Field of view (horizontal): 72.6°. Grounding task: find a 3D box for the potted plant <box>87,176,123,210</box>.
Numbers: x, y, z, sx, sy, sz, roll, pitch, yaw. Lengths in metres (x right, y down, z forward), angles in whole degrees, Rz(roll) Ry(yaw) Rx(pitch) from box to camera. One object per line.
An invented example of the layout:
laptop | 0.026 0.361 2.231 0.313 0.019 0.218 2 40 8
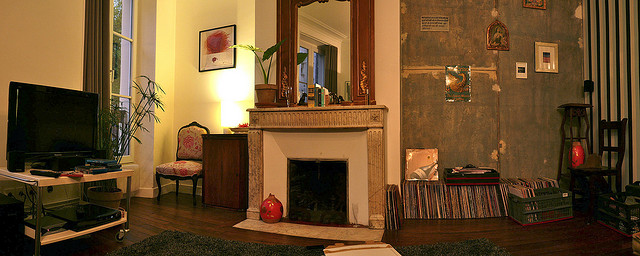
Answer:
potted plant | -4.949 1.516 10.338 1.045 0.627 0.943 -3 -2 33

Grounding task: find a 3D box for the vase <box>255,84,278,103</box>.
vase | -1.247 -0.817 10.418 0.697 0.375 0.602 1 -1 2

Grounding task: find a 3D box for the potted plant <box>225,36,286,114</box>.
potted plant | -1.273 -1.259 10.356 0.881 1.860 0.405 -1 -2 1

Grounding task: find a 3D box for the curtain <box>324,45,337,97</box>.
curtain | 0.281 -1.335 10.223 0.106 1.160 0.335 -20 29 -40

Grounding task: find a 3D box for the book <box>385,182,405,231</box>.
book | 1.691 1.802 10.041 0.328 1.060 0.441 -2 -2 12

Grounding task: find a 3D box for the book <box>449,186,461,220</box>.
book | 3.205 1.768 10.287 0.233 0.756 0.085 -2 -3 9

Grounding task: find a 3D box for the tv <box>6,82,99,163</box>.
tv | -5.931 -0.070 9.511 2.313 1.779 0.209 2 0 -14

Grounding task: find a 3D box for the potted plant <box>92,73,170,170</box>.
potted plant | -4.600 -0.258 10.645 1.363 2.341 1.613 -1 -2 -4

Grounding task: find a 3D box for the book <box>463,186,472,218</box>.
book | 3.505 1.755 10.306 0.173 0.732 0.044 -2 -3 18

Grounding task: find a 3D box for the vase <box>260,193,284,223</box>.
vase | -1.128 1.862 10.073 0.521 0.657 0.156 -1 -3 -7
